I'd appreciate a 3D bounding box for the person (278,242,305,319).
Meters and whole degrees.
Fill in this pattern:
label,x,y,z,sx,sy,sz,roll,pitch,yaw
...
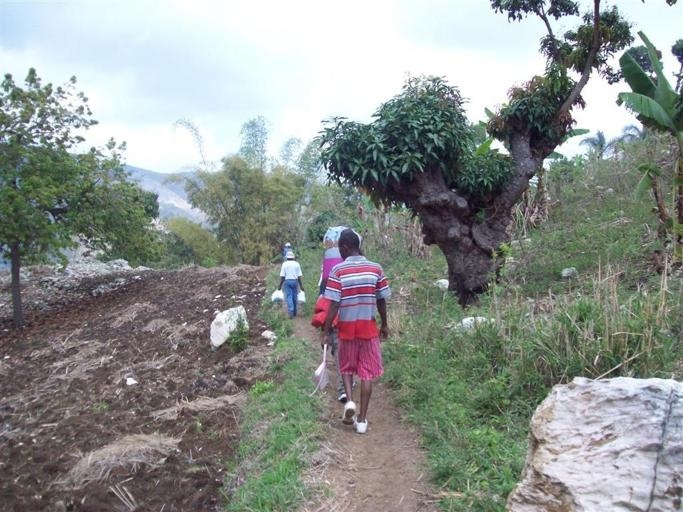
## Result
label,x,y,z,sx,sy,sz,roll,pitch,yaw
person,-1.088,0.557,11.322,0.473,1.529,0.781,-1,2,-7

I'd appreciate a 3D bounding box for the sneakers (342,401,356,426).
label,x,y,z,sx,sy,sz,roll,pitch,yaw
sneakers,0.110,2.135,7.280,0.136,0.409,0.172,3,34,0

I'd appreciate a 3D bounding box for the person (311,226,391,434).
label,x,y,z,sx,sy,sz,roll,pitch,yaw
person,0.214,1.003,7.233,0.852,2.721,0.328,-1,2,0

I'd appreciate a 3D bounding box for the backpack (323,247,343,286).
label,x,y,z,sx,sy,sz,roll,pitch,yaw
backpack,-0.167,0.211,9.388,0.335,0.686,0.481,-1,-17,-12
